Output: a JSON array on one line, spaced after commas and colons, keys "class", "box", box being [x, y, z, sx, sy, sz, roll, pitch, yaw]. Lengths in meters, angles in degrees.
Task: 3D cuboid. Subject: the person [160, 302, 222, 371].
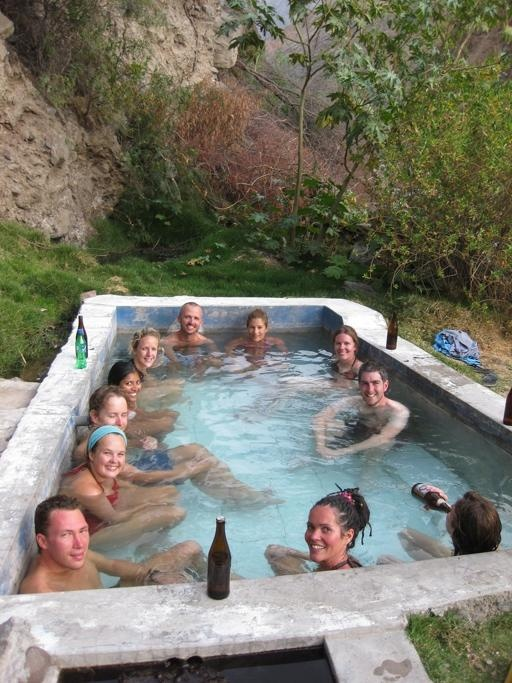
[{"class": "person", "box": [-0.607, -0.049, 6.169, 0.637, 0.754, 0.788, 0, 7, -20]}]

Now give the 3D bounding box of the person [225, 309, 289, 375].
[{"class": "person", "box": [-0.027, 0.013, 6.274, 0.722, 0.763, 0.451, 2, -24, 1]}]

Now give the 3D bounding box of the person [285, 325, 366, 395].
[{"class": "person", "box": [0.654, 0.183, 5.627, 0.829, 0.739, 0.510, 12, 1, -27]}]

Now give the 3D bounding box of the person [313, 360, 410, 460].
[{"class": "person", "box": [0.802, 0.545, 4.455, 0.998, 0.746, 0.694, 1, 5, -39]}]

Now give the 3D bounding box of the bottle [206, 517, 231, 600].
[{"class": "bottle", "box": [-0.125, 0.778, 2.029, 0.103, 0.389, 0.085, -6, 26, -21]}]

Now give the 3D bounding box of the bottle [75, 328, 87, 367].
[{"class": "bottle", "box": [-1.406, 0.045, 4.452, 0.091, 0.296, 0.271, -4, 24, -18]}]
